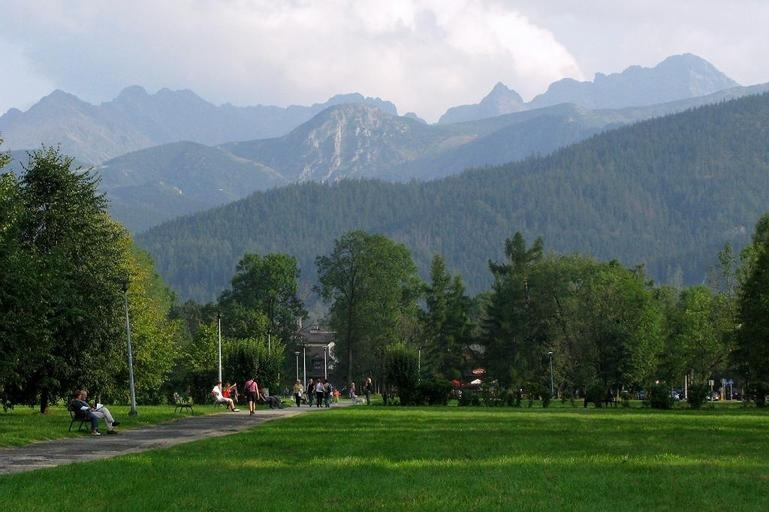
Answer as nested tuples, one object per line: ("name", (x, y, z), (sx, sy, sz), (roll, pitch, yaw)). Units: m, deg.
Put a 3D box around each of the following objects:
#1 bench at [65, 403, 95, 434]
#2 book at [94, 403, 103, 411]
("bench", (-26.453, 14.206, 96.717), (2.566, 3.620, 2.412), (-3, -4, 24))
("book", (-24.706, 13.175, 95.745), (0.638, 0.715, 0.166), (3, 9, 5))
